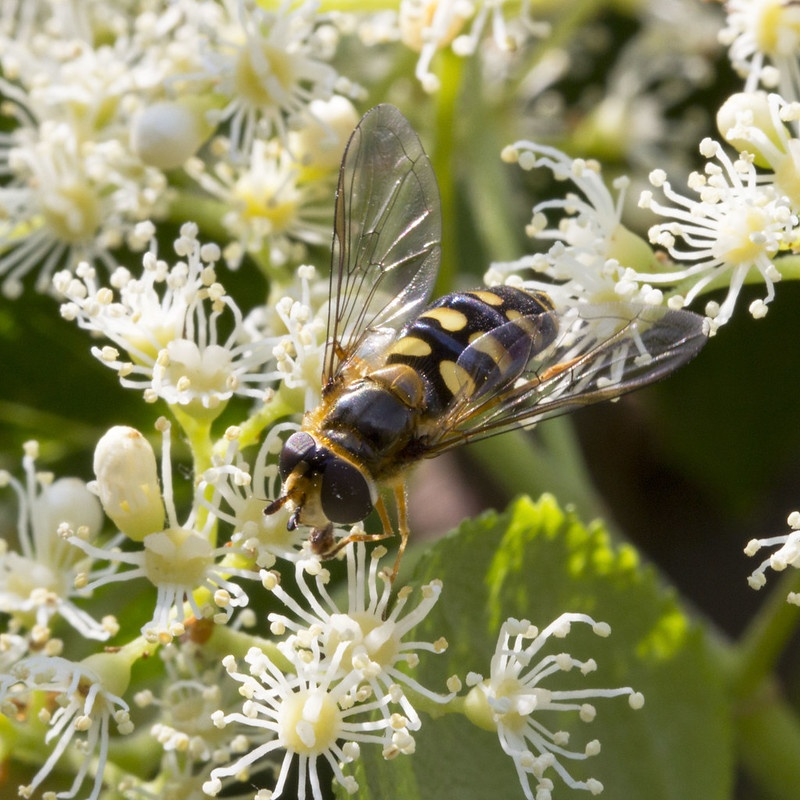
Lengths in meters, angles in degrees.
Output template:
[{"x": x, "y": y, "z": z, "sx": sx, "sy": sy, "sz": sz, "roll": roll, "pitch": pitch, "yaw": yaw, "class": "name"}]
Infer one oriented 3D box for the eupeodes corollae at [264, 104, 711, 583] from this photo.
[{"x": 0.019, "y": -0.018, "z": 1.012, "sx": 0.381, "sy": 0.191, "sz": 0.378, "roll": 38, "pitch": 78, "yaw": 8, "class": "eupeodes corollae"}]
